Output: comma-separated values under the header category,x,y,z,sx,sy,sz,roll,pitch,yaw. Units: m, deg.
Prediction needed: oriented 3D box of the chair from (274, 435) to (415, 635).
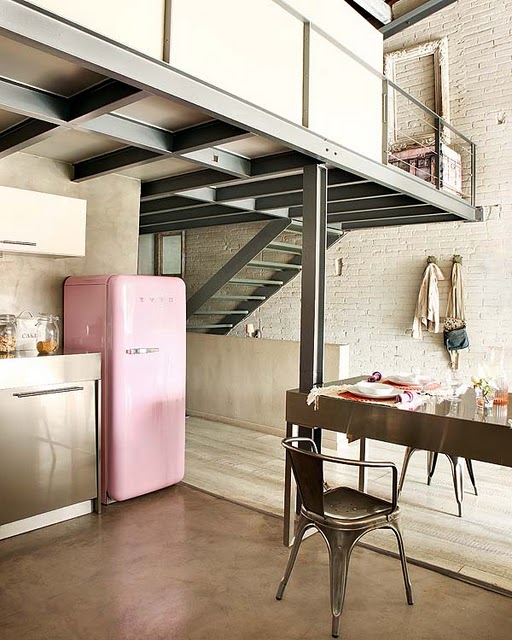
category,x,y,z,sx,sy,sz,roll,pitch,yaw
chair,0.378,0.887,2.240,0.405,0.755,0.558,2,2,35

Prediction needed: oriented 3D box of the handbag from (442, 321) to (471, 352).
category,x,y,z,sx,sy,sz,roll,pitch,yaw
handbag,1.988,0.167,5.383,0.329,0.410,0.244,-2,-1,32

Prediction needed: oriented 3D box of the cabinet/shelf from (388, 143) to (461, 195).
category,x,y,z,sx,sy,sz,roll,pitch,yaw
cabinet/shelf,1.558,-1.395,4.957,0.653,0.499,0.778,2,1,24
